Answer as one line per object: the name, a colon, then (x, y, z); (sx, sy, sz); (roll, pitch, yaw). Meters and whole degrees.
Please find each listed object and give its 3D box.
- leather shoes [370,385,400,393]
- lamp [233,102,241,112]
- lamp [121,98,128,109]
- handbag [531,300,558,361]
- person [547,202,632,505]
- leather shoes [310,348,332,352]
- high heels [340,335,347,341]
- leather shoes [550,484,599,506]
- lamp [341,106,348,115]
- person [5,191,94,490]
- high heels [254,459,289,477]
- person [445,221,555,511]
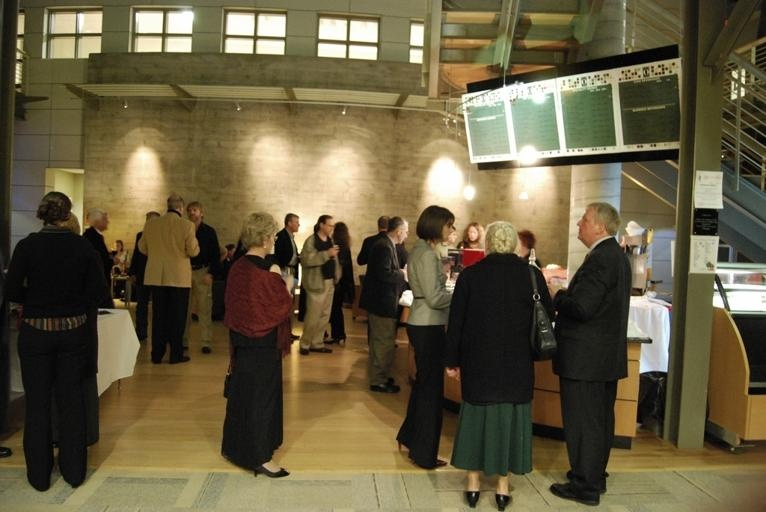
leather shoes: (0.024, 1.648, 8.256); (0.362, 0.133, 0.125); (0, -5, -2)
lamp: (-3.045, -3.141, 13.872); (0.127, 0.165, 0.165); (0, -4, 0)
lamp: (-5.501, -3.247, 14.072); (0.142, 0.192, 0.115); (0, 6, 2)
handbag: (1.431, 0.661, 5.923); (0.253, 0.532, 0.576); (-6, -2, 3)
person: (1.913, 0.876, 6.192); (0.583, 2.750, 0.659); (4, 7, 35)
leather shoes: (-0.920, 1.404, 9.829); (0.289, 0.096, 0.099); (0, -4, -7)
high heels: (-0.635, 1.307, 10.517); (0.082, 0.095, 0.086); (0, -12, -2)
leather shoes: (1.773, 2.188, 6.139); (0.383, 0.154, 0.179); (11, 7, 41)
lamp: (-0.830, -3.083, 13.928); (0.111, 0.184, 0.059); (0, 6, -5)
person: (-2.994, 0.777, 6.056); (0.812, 2.709, 0.407); (-2, 6, -19)
high heels: (-1.062, 2.015, 6.290); (0.287, 0.113, 0.154); (0, -1, -3)
person: (1.052, 0.993, 5.995); (0.944, 2.579, 0.438); (1, 6, 4)
